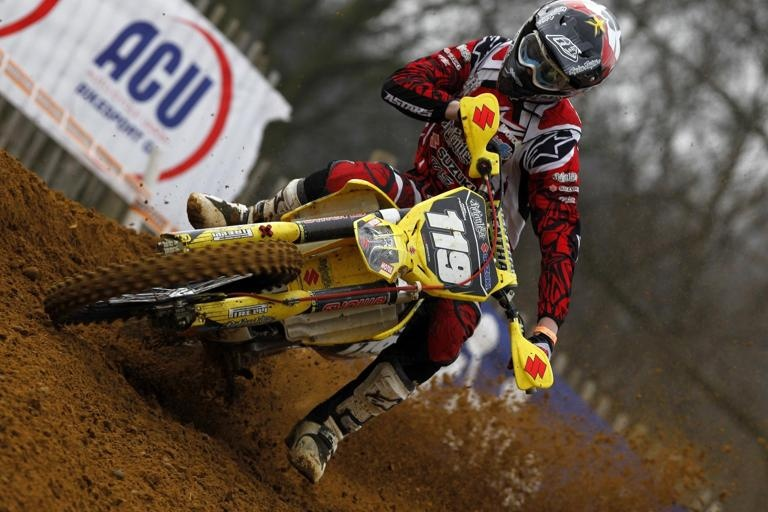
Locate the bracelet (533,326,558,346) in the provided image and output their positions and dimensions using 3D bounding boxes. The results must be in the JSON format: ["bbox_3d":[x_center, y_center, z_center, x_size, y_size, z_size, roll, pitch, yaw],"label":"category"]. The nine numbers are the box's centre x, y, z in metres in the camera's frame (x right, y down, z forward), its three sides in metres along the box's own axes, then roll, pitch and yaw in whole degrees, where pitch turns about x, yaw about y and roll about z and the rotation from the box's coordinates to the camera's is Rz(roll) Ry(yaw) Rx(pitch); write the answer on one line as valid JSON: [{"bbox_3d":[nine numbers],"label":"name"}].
[{"bbox_3d":[1.008,0.526,5.145,0.147,0.062,0.123,32,27,-16],"label":"bracelet"}]

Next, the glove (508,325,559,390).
[{"bbox_3d":[0.862,0.617,4.885,0.283,0.418,0.133,-9,-13,-20],"label":"glove"}]
